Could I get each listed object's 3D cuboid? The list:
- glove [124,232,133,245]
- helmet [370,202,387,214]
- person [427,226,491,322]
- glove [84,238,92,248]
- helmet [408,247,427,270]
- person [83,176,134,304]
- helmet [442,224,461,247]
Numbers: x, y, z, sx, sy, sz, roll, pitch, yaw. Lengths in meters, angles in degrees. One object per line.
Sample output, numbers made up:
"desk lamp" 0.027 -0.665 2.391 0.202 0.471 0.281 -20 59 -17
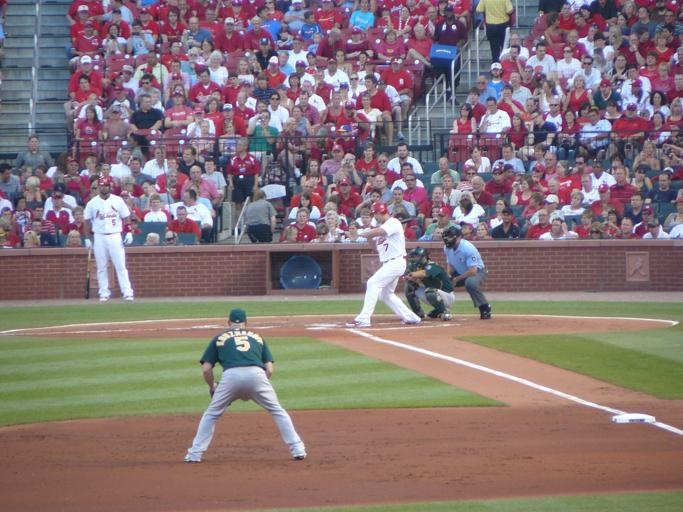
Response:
"glove" -5.439 -0.434 41.872 0.223 0.310 0.104 4 27 5
"helmet" 0.807 -1.064 36.297 0.363 0.255 0.309 1 3 -8
"person" 2.791 0.366 37.259 1.198 2.140 0.850 1 3 -13
"glove" -6.366 -0.319 41.273 0.170 0.213 0.222 -1 2 -35
"helmet" 1.621 0.070 37.218 0.500 0.454 0.393 3 -4 -29
"person" -5.626 -0.395 39.474 1.146 2.977 0.842 -2 10 3
"helmet" 2.456 -0.441 36.927 0.390 0.519 0.510 2 3 4
